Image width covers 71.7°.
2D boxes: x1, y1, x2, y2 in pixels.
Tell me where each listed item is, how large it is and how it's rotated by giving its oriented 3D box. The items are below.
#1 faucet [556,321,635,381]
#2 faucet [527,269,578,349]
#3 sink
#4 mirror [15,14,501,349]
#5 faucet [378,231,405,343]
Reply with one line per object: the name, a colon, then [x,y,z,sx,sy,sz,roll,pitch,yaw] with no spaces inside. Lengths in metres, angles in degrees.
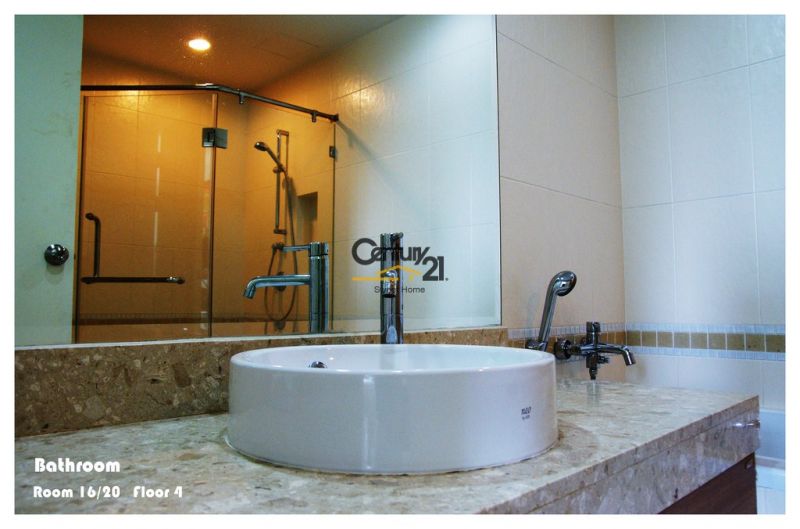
faucet: [0.712,0.325,2.027,0.281,0.216,0.083,-5,-7,42]
faucet: [0.534,0.199,1.962,0.132,0.369,0.115,0,14,-28]
sink: [-0.019,0.302,1.242,0.693,0.218,0.395,0,-3,-11]
mirror: [-0.543,-0.333,1.880,1.134,1.073,1.113,2,-5,-42]
faucet: [-0.022,0.066,1.478,0.053,0.291,0.039,0,-2,-10]
